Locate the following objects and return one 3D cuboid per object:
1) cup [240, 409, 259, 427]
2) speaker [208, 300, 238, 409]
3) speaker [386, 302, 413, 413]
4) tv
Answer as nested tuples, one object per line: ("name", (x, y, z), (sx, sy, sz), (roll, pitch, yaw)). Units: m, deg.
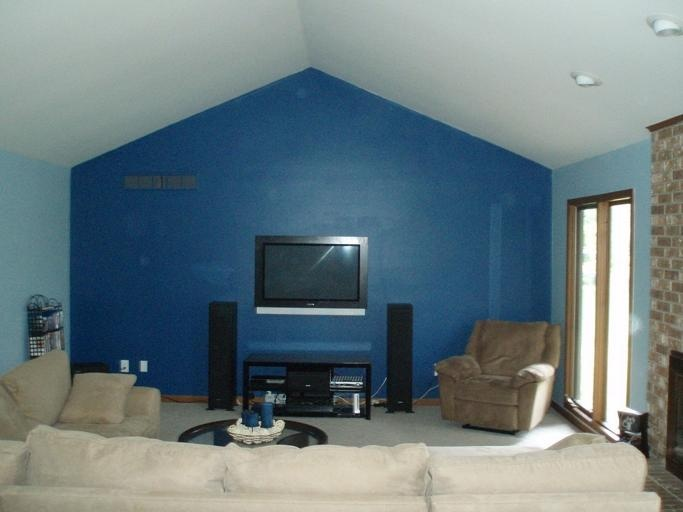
("cup", (-0.702, 1.248, 4.670), (0.125, 0.099, 0.120), (4, 4, 0))
("speaker", (-1.276, 1.084, 6.524), (0.278, 1.148, 0.132), (2, -4, -22))
("speaker", (0.623, 1.098, 6.460), (0.262, 1.145, 0.161), (-1, -4, 12))
("tv", (-0.331, 0.203, 6.729), (0.927, 0.625, 0.091), (1, -1, 2))
